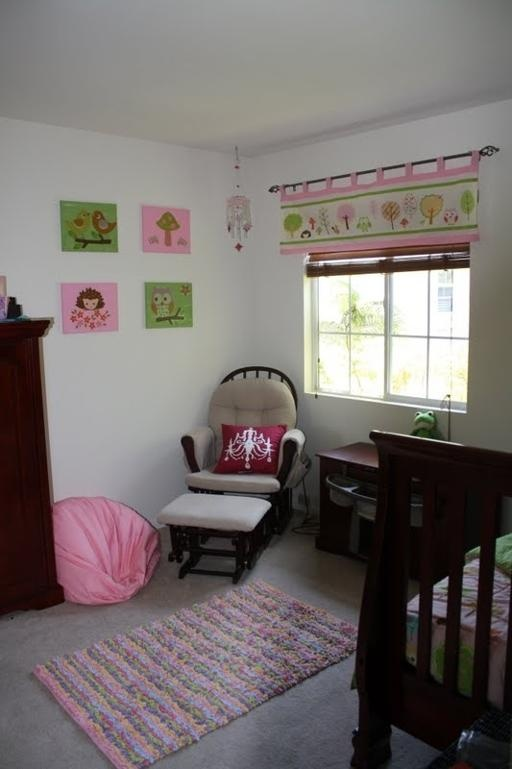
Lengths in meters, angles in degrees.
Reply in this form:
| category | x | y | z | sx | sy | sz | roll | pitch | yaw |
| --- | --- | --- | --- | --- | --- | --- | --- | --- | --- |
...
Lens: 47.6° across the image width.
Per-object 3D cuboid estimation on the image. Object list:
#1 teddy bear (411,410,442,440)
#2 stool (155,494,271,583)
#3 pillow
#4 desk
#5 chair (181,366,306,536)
| category | x | y | z | sx | sy | sz | roll | pitch | yaw |
| --- | --- | --- | --- | --- | --- | --- | --- | --- | --- |
| teddy bear | 0.915 | 0.216 | 3.082 | 0.130 | 0.153 | 0.118 | -4 | -24 | 34 |
| stool | -0.175 | 0.802 | 3.222 | 0.516 | 0.395 | 0.668 | 0 | 5 | 12 |
| pillow | -0.019 | 0.438 | 3.610 | 0.459 | 0.162 | 0.518 | -1 | 35 | -5 |
| desk | 0.735 | 0.682 | 3.101 | 0.399 | 0.512 | 0.529 | -2 | -11 | -26 |
| chair | -0.064 | 0.420 | 3.673 | 0.749 | 0.985 | 0.691 | 0 | 1 | 13 |
